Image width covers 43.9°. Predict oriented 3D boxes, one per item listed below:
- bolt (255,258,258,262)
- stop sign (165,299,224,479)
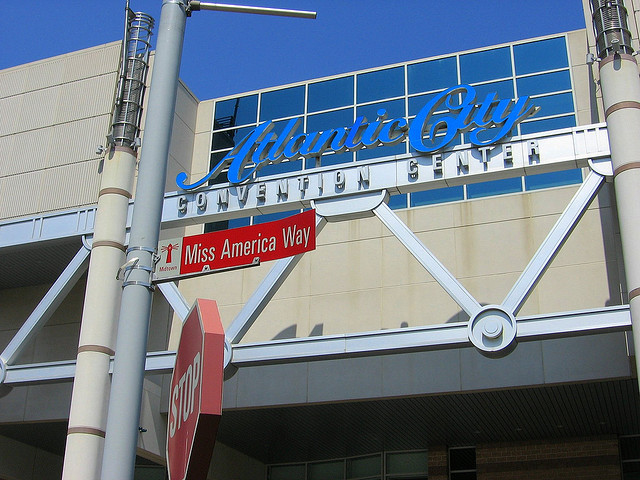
[{"bbox_3d":[-0.914,0.271,11.214,0.036,0.065,0.030,6,-20,-14],"label":"bolt"},{"bbox_3d":[-1.315,1.543,8.454,0.443,1.915,1.420,5,-20,-12],"label":"stop sign"}]
